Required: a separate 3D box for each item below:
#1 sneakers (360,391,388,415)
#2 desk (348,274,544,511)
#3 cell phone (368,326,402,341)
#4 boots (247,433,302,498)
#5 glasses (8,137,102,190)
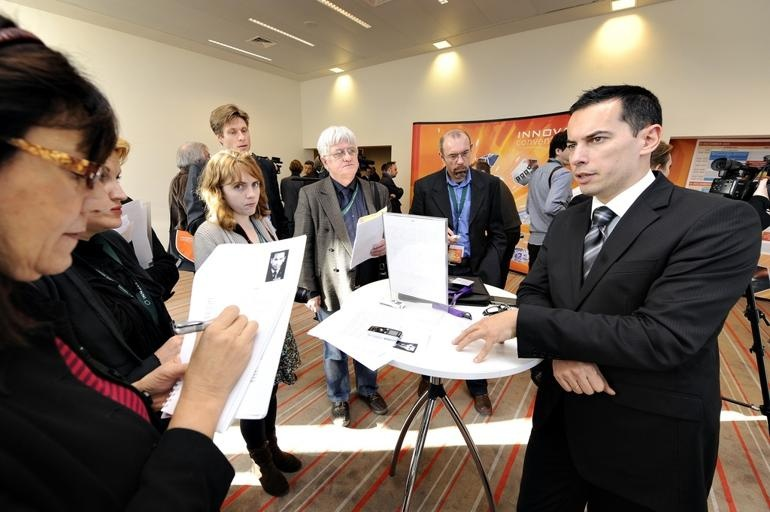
[{"bbox_3d":[-0.062,0.992,3.067,0.082,0.091,0.240,-16,15,-40],"label":"sneakers"},{"bbox_3d":[0.306,0.664,2.465,1.126,1.309,1.143,-1,6,-4],"label":"desk"},{"bbox_3d":[0.009,0.362,2.100,0.133,0.041,0.063,11,17,21],"label":"cell phone"},{"bbox_3d":[-0.611,1.175,2.553,0.389,0.272,0.165,-6,5,39],"label":"boots"},{"bbox_3d":[-0.987,-0.274,1.320,0.148,0.045,0.145,26,-4,-20],"label":"glasses"}]
